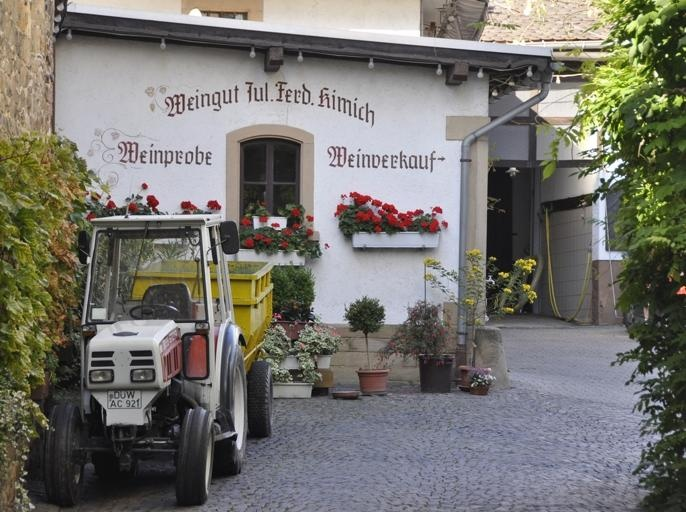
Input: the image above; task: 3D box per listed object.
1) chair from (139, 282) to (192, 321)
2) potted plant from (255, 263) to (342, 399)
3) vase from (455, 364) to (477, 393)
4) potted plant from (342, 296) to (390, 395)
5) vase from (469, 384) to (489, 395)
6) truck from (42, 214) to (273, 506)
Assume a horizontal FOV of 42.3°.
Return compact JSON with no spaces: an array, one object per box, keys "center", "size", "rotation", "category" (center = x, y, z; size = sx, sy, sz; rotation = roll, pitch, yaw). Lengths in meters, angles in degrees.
[{"center":[-1.672,0.431,8.372],"size":[0.510,0.525,0.303],"rotation":[2,5,9],"category":"chair"},{"center":[-0.568,1.121,13.210],"size":[0.876,1.311,1.784],"rotation":[-1,-4,0],"category":"potted plant"},{"center":[1.796,1.793,13.021],"size":[0.260,0.312,0.345],"rotation":[1,2,4],"category":"vase"},{"center":[0.322,1.287,13.160],"size":[0.621,1.355,1.134],"rotation":[0,2,0],"category":"potted plant"},{"center":[1.941,1.898,12.651],"size":[0.255,0.143,0.172],"rotation":[1,2,8],"category":"vase"},{"center":[-1.724,0.900,8.780],"size":[1.504,2.621,2.361],"rotation":[1,2,10],"category":"truck"}]
